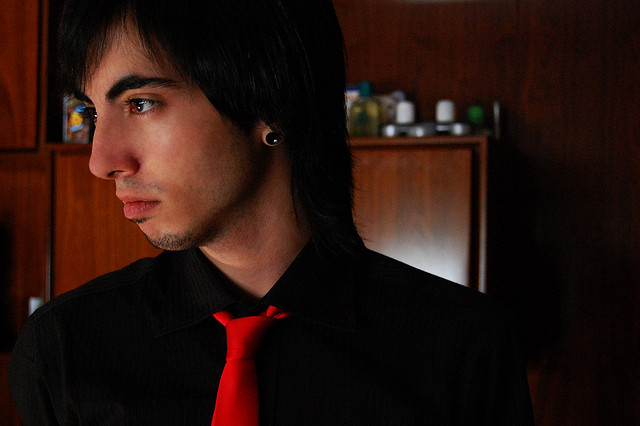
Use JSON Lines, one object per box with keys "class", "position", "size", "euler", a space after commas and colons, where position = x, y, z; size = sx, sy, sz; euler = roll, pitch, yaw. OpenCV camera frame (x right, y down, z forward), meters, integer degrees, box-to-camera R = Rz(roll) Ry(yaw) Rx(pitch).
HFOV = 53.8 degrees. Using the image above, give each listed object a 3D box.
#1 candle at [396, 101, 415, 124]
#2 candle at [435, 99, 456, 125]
{"class": "candle", "position": [0.337, -0.393, 2.501], "size": [0.085, 0.096, 0.084], "euler": [0, -5, -2]}
{"class": "candle", "position": [0.491, -0.392, 2.486], "size": [0.070, 0.099, 0.078], "euler": [-3, 2, 9]}
